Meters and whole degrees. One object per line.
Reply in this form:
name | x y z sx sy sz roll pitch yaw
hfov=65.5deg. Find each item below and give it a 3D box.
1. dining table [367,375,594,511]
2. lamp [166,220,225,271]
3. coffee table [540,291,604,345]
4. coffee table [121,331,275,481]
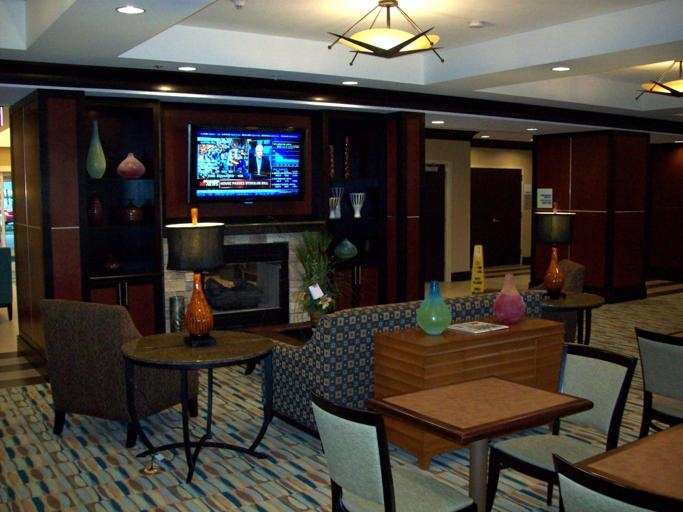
dining table | 0.732 0.775 2.692 0.838 0.681 0.755 -5 7 -38
lamp | -1.100 -0.057 3.974 0.415 0.310 0.430 0 3 25
coffee table | 2.813 0.803 6.049 0.786 0.572 0.794 -9 -1 30
coffee table | -1.052 1.070 3.930 1.027 0.787 0.988 5 6 45
